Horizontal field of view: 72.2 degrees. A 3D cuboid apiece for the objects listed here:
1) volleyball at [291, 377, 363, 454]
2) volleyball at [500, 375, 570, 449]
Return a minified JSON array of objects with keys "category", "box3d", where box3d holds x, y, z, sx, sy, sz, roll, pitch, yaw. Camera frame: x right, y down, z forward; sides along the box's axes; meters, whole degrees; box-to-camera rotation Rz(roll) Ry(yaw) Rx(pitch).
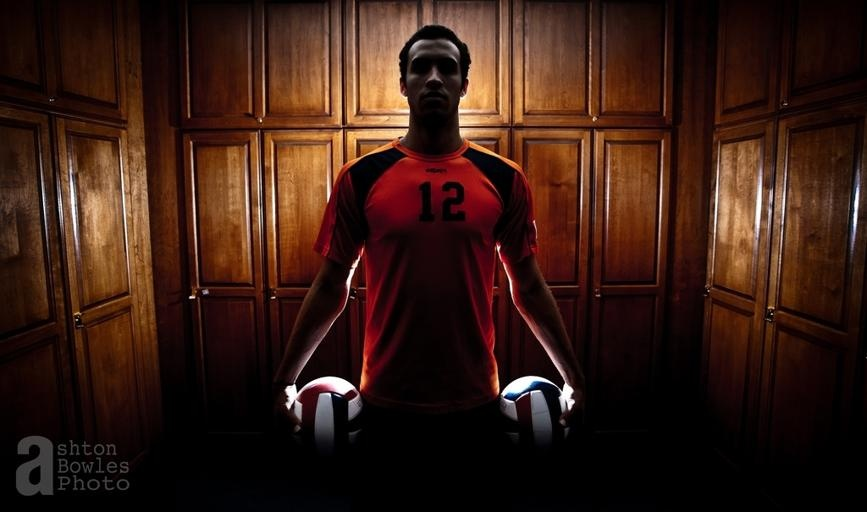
[{"category":"volleyball","box3d":[-0.645,0.972,3.676,0.371,0.434,0.332,0,-8,-7]},{"category":"volleyball","box3d":[0.628,0.982,3.802,0.440,0.417,0.318,-6,-3,-36]}]
